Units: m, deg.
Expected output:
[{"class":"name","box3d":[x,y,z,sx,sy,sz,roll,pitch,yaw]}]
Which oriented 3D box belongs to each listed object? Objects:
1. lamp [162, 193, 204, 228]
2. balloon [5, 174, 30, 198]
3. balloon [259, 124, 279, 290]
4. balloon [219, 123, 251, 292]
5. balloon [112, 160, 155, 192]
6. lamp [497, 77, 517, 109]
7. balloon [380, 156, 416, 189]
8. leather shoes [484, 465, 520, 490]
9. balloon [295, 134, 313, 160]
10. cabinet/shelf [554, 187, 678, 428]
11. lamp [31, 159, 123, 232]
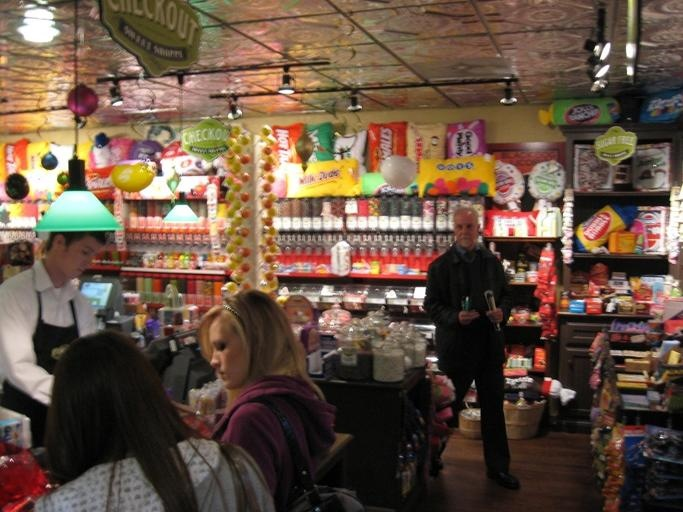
[{"class":"lamp","box3d":[-2.057,-0.541,6.903,0.615,0.371,0.572,0,0,2]},{"class":"balloon","box3d":[-4.301,-0.945,7.194,0.243,0.345,0.452,-1,2,-33]},{"class":"balloon","box3d":[-0.620,-0.382,4.607,0.143,1.427,0.321,0,1,-7]},{"class":"balloon","box3d":[-0.834,-0.414,4.465,0.241,1.374,0.470,0,1,-10]},{"class":"balloon","box3d":[-2.540,-0.997,6.740,0.535,0.301,0.431,-2,11,9]},{"class":"lamp","box3d":[1.847,-1.830,6.084,0.319,0.305,0.301,0,5,3]},{"class":"balloon","box3d":[0.660,-1.001,6.382,0.468,0.469,0.425,3,-5,0]},{"class":"leather shoes","box3d":[1.446,1.995,4.891,0.118,0.120,0.327,0,-4,-26]},{"class":"balloon","box3d":[-0.460,-1.323,6.627,0.187,0.310,0.241,0,1,-8]},{"class":"cabinet/shelf","box3d":[3.055,0.622,5.999,1.235,2.764,1.846,1,1,20]},{"class":"lamp","box3d":[-1.480,-0.328,3.283,0.498,0.442,0.479,-1,-2,-2]}]
